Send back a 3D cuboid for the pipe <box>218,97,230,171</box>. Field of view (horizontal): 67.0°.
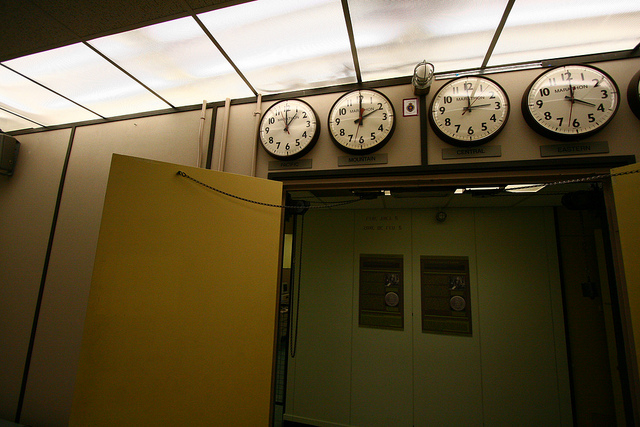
[{"bbox_3d":[-1.072,-0.863,5.464,0.052,0.833,0.051,6,18,-3],"label":"pipe"}]

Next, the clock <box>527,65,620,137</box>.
[{"bbox_3d":[2.572,-1.096,4.823,0.605,0.630,0.092,-7,-10,6],"label":"clock"}]

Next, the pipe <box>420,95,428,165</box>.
[{"bbox_3d":[1.091,-0.865,5.050,0.076,0.736,0.077,-2,-12,9],"label":"pipe"}]

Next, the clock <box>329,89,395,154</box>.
[{"bbox_3d":[0.470,-0.942,5.120,0.638,0.720,0.099,0,-11,11],"label":"clock"}]

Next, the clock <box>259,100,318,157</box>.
[{"bbox_3d":[-0.316,-0.898,5.249,0.539,0.565,0.083,-5,-14,14],"label":"clock"}]

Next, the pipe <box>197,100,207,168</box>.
[{"bbox_3d":[-1.340,-0.903,5.497,0.053,0.778,0.095,9,-15,-35],"label":"pipe"}]

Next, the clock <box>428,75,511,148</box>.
[{"bbox_3d":[1.572,-1.021,4.963,0.688,0.795,0.113,1,-11,11],"label":"clock"}]
